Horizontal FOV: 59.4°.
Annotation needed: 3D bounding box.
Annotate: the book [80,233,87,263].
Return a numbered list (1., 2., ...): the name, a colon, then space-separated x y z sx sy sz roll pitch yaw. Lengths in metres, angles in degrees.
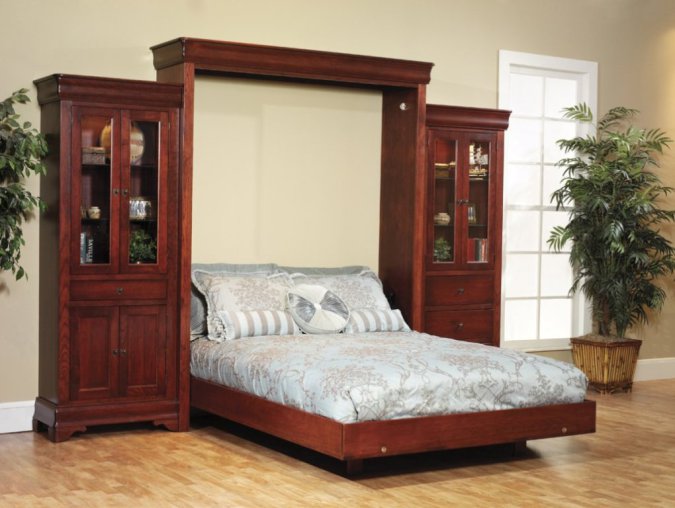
1. book: -1.747 -0.042 4.024 0.041 0.205 0.020 -2 5 -31

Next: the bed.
1. bed: -0.084 0.726 4.065 1.594 0.628 2.025 0 -1 -27

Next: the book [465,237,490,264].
1. book: 1.248 -0.037 5.307 0.276 0.222 0.092 0 0 -32

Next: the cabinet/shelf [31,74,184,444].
1. cabinet/shelf: -1.518 0.030 4.078 0.854 2.461 0.314 -1 4 -15
